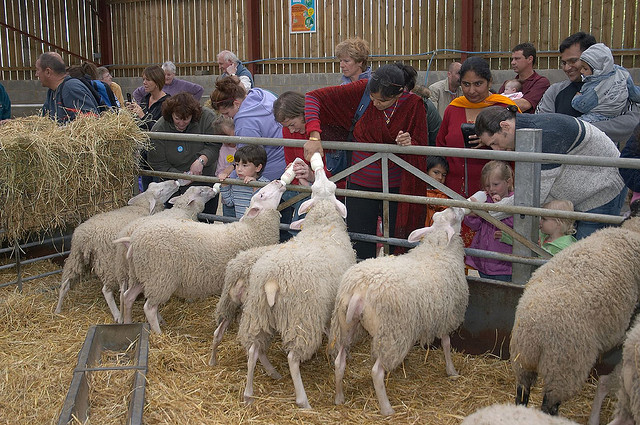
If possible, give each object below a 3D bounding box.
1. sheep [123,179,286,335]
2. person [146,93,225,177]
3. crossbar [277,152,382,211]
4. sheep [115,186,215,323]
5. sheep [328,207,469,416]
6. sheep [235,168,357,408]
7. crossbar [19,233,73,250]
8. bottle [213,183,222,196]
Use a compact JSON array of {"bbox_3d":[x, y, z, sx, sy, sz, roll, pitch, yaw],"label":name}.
[{"bbox_3d":[-1.174,0.493,7.480,2.033,1.800,0.785,-3,9,-31],"label":"sheep"},{"bbox_3d":[-1.789,-0.964,8.744,0.887,1.350,0.768,-9,42,-15],"label":"person"},{"bbox_3d":[0.130,-0.329,7.333,1.090,0.080,0.077,-33,46,10],"label":"crossbar"},{"bbox_3d":[-1.685,0.646,7.655,0.576,1.771,1.881,-1,3,13],"label":"sheep"},{"bbox_3d":[0.916,0.925,6.686,1.910,1.781,0.927,-13,13,-43],"label":"sheep"},{"bbox_3d":[-0.107,0.680,7.149,0.773,2.110,2.575,4,13,15],"label":"sheep"},{"bbox_3d":[-3.572,0.378,8.603,0.608,0.069,0.064,-16,31,9],"label":"crossbar"},{"bbox_3d":[-1.228,-0.280,7.942,0.090,0.133,0.130,4,24,-5],"label":"bottle"}]
